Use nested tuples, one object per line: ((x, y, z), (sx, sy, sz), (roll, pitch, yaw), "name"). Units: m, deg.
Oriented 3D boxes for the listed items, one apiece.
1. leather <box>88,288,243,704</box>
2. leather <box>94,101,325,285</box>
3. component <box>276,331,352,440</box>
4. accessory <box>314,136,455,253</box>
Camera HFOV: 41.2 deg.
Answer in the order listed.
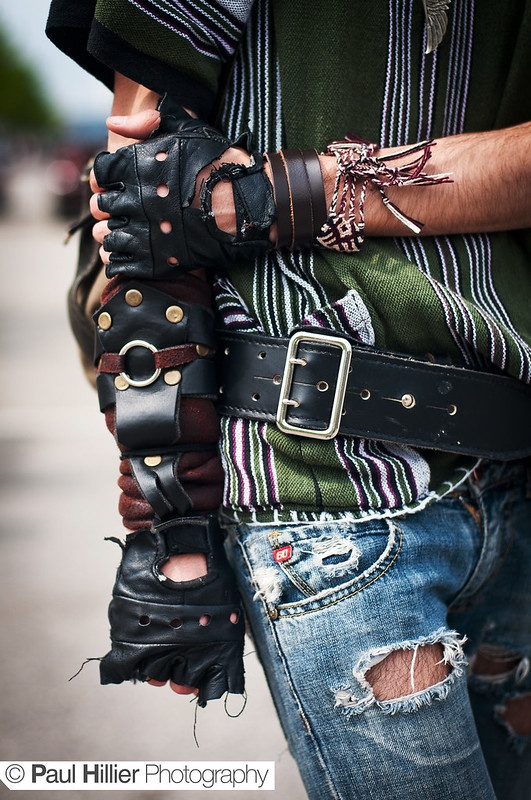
((-0.139, 0.121, 0.955), (0.197, 0.551, 0.241), (-4, -24, -14), "leather")
((-0.054, -0.282, 0.969), (0.365, 0.247, 0.102), (3, -22, 17), "leather")
((0.063, -0.020, 0.929), (0.097, 0.139, 0.034), (7, 2, 8), "component")
((0.152, -0.278, 0.925), (0.173, 0.131, 0.063), (1, -8, 7), "accessory")
